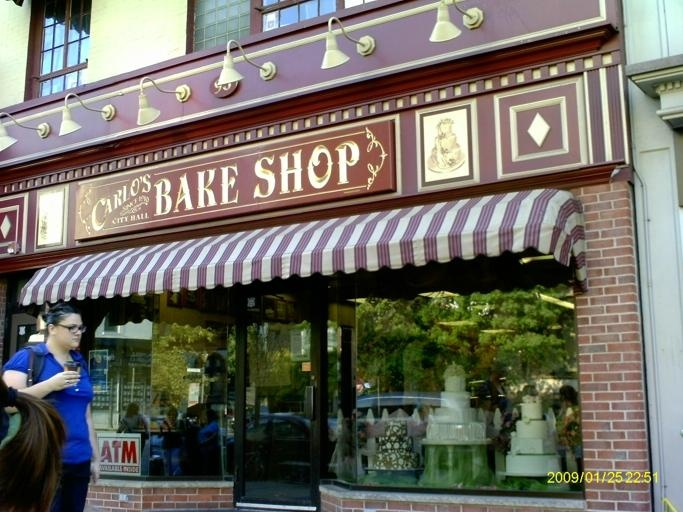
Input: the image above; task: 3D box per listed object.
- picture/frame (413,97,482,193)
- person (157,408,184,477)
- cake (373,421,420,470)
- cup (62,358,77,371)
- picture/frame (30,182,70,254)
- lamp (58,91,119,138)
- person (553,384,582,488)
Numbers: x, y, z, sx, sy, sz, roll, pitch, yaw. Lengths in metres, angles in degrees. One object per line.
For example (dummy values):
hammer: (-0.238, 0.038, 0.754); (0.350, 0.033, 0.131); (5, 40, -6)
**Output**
picture/frame: (1.284, -1.297, 10.267); (1.035, 1.381, 0.046); (-7, -17, 27)
person: (-2.396, 2.559, 11.993); (0.286, 0.945, 0.107); (2, -11, -12)
cake: (0.668, 2.286, 10.326); (0.304, 0.583, 0.547); (3, -6, -45)
cup: (-2.396, 0.949, 7.544); (0.104, 0.100, 0.105); (-1, -9, 0)
picture/frame: (-4.412, -0.555, 13.010); (0.970, 1.355, 0.097); (-4, -8, 36)
lamp: (-3.878, -2.057, 12.442); (0.490, 0.674, 1.167); (-7, 9, 32)
person: (2.491, 1.975, 9.442); (0.247, 1.131, 0.088); (-5, -12, 20)
